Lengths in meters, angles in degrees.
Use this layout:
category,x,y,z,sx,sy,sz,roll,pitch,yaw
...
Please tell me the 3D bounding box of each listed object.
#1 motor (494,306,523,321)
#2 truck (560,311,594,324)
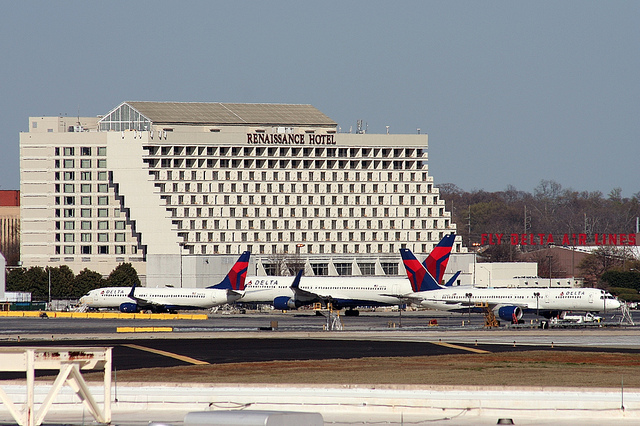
category,x,y,z,sx,sy,sz,roll,pitch,yaw
motor,24.918,13.511,215.674,3.070,1.639,1.677,-1,-14,24
truck,33.766,13.923,212.600,3.241,1.361,2.104,0,0,-14
